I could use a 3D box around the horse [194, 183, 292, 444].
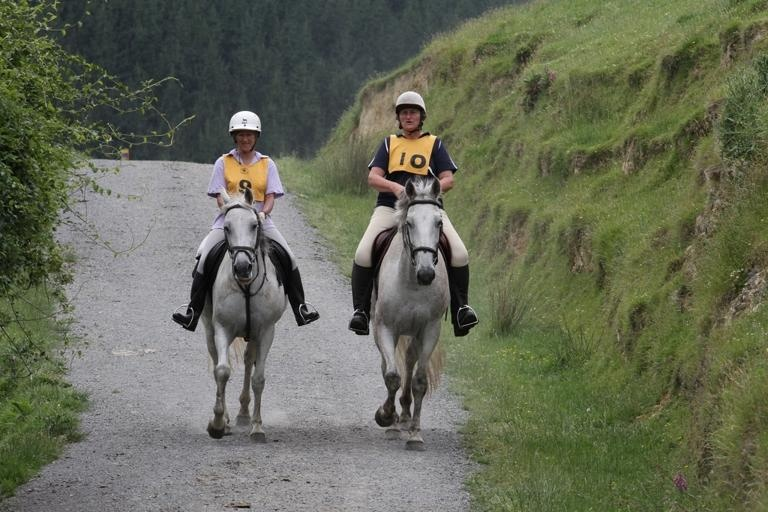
[{"bbox_3d":[-2.235,0.907,18.472,1.245,3.968,1.681,1,15,-6],"label":"horse"}]

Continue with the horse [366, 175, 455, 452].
[{"bbox_3d":[0.469,0.859,18.521,1.170,4.283,1.819,1,15,-5],"label":"horse"}]
